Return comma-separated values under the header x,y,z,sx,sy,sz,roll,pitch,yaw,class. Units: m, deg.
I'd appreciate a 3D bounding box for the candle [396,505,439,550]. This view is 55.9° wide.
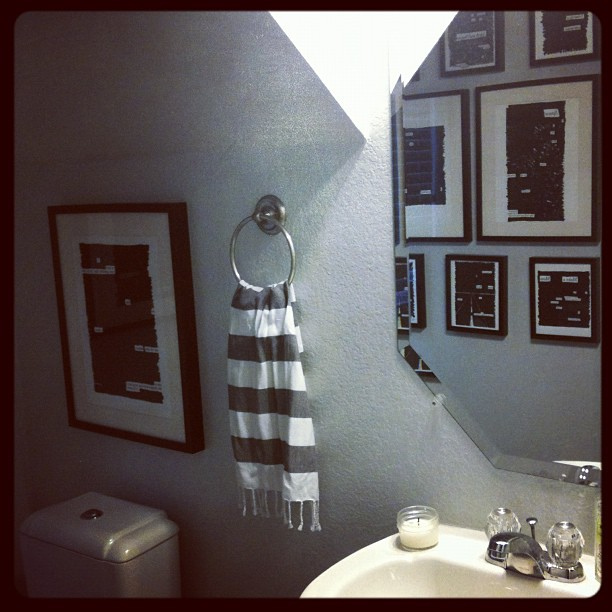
x,y,z,sx,sy,sz,roll,pitch,yaw,class
0.176,0.348,0.909,0.066,0.060,0.073,-1,4,11,candle

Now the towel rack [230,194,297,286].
x,y,z,sx,sy,sz,roll,pitch,yaw,class
-0.067,-0.115,0.954,0.113,0.175,0.026,6,8,23,towel rack
